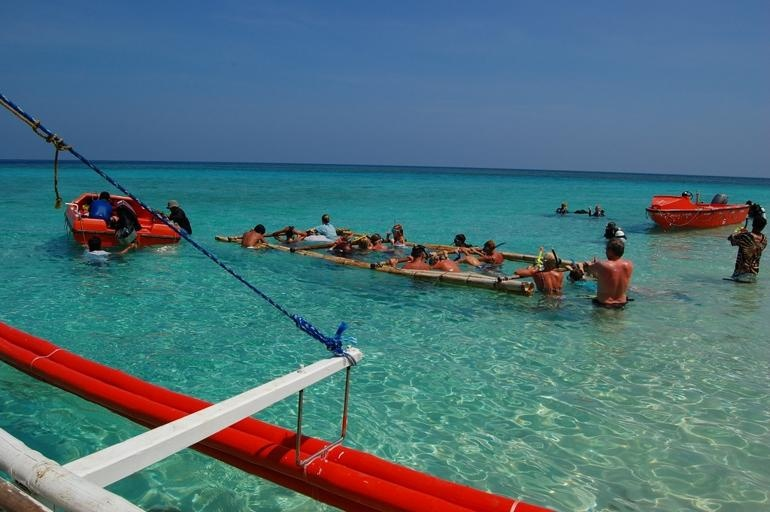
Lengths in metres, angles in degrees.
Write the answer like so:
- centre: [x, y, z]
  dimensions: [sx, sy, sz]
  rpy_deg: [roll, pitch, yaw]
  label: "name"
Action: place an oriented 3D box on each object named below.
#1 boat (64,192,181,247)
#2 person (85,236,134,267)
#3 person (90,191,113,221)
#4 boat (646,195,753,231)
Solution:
- centre: [-10.413, -1.321, 20.212]
  dimensions: [3.564, 1.179, 4.304]
  rpy_deg: [-4, 16, -42]
  label: "boat"
- centre: [-9.175, -0.239, 17.842]
  dimensions: [1.353, 0.769, 1.994]
  rpy_deg: [-2, 7, -11]
  label: "person"
- centre: [-10.125, -1.799, 19.513]
  dimensions: [0.747, 1.019, 2.408]
  rpy_deg: [-5, 8, -25]
  label: "person"
- centre: [17.075, -2.231, 28.923]
  dimensions: [7.619, 1.238, 2.365]
  rpy_deg: [1, 2, -29]
  label: "boat"
